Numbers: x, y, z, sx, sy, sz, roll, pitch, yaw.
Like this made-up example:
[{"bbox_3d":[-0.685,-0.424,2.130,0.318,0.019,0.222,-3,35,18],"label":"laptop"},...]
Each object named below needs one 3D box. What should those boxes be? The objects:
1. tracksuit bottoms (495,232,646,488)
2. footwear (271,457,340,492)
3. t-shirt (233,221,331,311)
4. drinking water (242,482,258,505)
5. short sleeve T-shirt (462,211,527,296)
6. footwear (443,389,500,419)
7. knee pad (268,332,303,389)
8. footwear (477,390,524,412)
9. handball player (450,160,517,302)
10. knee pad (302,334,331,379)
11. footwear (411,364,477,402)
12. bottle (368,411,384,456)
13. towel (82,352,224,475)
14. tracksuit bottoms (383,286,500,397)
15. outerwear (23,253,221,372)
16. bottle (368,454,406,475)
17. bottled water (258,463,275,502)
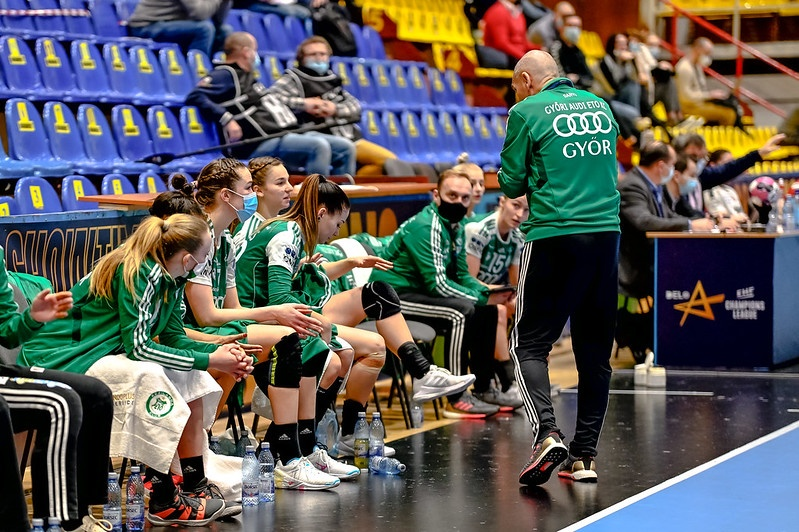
[{"bbox_3d":[1.025,0.497,5.844,0.576,1.652,0.491,12,-21,-6],"label":"tracksuit bottoms"},{"bbox_3d":[-0.582,1.259,5.881,0.430,0.198,0.169,1,-2,5],"label":"footwear"},{"bbox_3d":[-0.739,0.014,6.328,0.573,0.612,0.538,12,7,-27],"label":"t-shirt"},{"bbox_3d":[-0.859,1.308,5.594,0.110,0.124,0.111,2,-3,0],"label":"drinking water"},{"bbox_3d":[0.744,-0.125,7.933,0.585,0.606,0.330,12,0,-32],"label":"short sleeve T-shirt"},{"bbox_3d":[0.580,1.058,7.470,0.433,0.217,0.189,-1,-3,11],"label":"footwear"},{"bbox_3d":[-0.644,0.509,5.799,0.246,0.331,0.196,-18,38,-31],"label":"knee pad"},{"bbox_3d":[0.798,1.035,7.518,0.412,0.179,0.148,3,1,-12],"label":"footwear"},{"bbox_3d":[0.661,-0.331,7.815,0.362,0.953,0.701,19,2,-5],"label":"handball player"},{"bbox_3d":[-0.527,0.512,5.899,0.146,0.213,0.181,12,5,-20],"label":"knee pad"},{"bbox_3d":[0.282,0.797,6.722,0.484,0.229,0.191,-14,2,6],"label":"footwear"},{"bbox_3d":[-0.147,1.074,6.213,0.102,0.286,0.188,-3,-3,-2],"label":"bottle"},{"bbox_3d":[-1.414,0.751,5.402,0.763,0.637,0.729,0,-1,-32],"label":"towel"},{"bbox_3d":[0.481,0.521,7.792,0.761,1.215,0.893,-6,-1,21],"label":"tracksuit bottoms"},{"bbox_3d":[-1.586,0.255,5.455,1.153,0.620,0.685,-1,4,5],"label":"outerwear"},{"bbox_3d":[-0.074,1.241,6.064,0.238,0.115,0.169,-3,-3,-4],"label":"bottle"},{"bbox_3d":[-0.786,1.249,5.714,0.102,0.267,0.100,5,-11,-27],"label":"bottled water"}]
